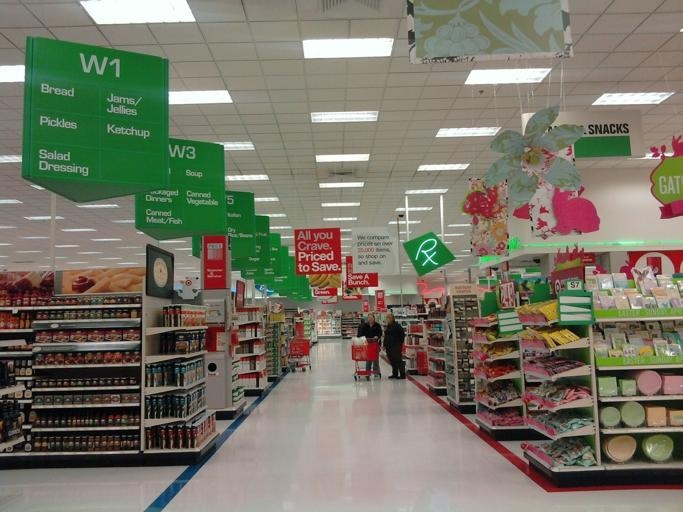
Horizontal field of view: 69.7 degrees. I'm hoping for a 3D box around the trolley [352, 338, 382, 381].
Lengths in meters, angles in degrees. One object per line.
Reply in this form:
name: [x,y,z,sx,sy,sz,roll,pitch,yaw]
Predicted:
trolley: [0.708,2.892,13.989,0.747,1.162,1.011,-2,-5,4]
